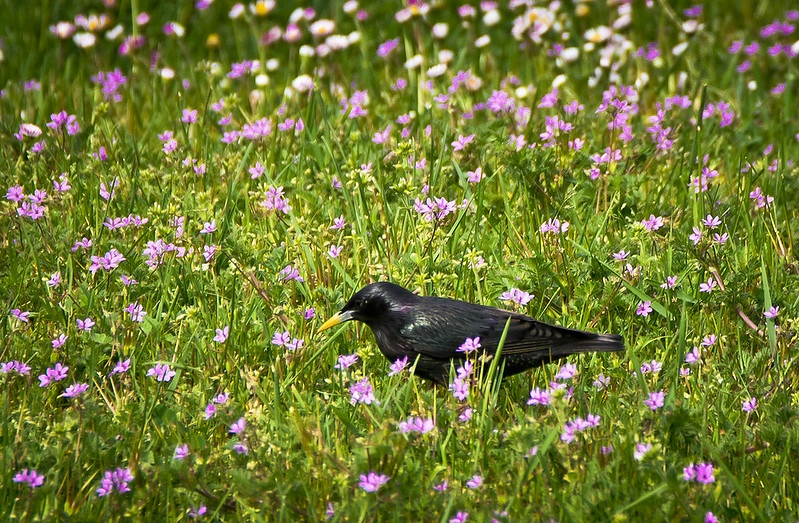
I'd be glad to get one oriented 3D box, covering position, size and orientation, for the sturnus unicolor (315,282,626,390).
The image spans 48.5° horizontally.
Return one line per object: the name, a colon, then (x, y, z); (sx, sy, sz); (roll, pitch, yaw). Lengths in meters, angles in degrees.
sturnus unicolor: (0.310, 0.425, 4.692); (1.493, 0.506, 0.360); (16, 19, 15)
